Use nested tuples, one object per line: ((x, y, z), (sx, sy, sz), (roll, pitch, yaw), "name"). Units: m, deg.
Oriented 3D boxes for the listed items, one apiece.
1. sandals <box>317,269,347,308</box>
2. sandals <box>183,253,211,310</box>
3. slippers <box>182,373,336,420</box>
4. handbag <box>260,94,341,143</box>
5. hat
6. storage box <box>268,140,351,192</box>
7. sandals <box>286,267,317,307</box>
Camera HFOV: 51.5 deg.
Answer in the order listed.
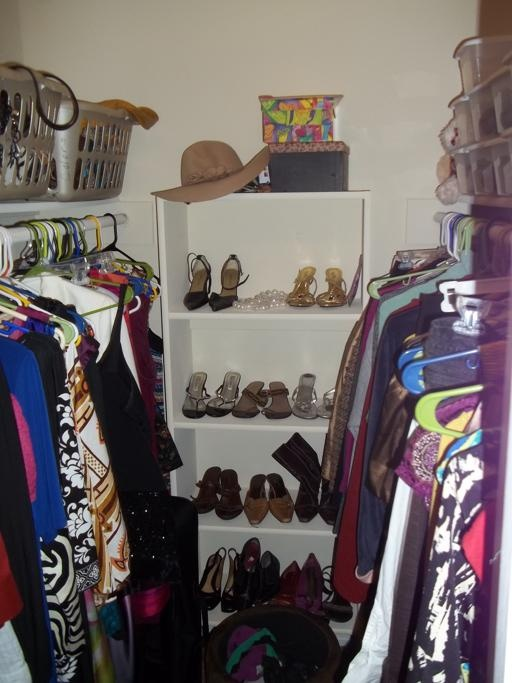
((0.293, -0.187, 1.840), (0.092, 0.160, 0.159), (0, 5, 18), "sandals")
((-0.205, -0.211, 1.930), (0.075, 0.102, 0.231), (-1, 50, 6), "sandals")
((0.011, 0.199, 1.965), (0.549, 0.115, 0.277), (1, 9, -1), "slippers")
((0.130, -0.671, 1.616), (0.234, 0.137, 0.074), (2, 9, 6), "handbag")
((-0.138, -0.542, 1.690), (0.359, 0.205, 0.210), (1, 9, 1), "hat")
((0.151, -0.537, 1.641), (0.226, 0.141, 0.067), (1, 9, 1), "storage box")
((0.162, -0.195, 1.887), (0.131, 0.167, 0.095), (-3, 15, -16), "sandals")
